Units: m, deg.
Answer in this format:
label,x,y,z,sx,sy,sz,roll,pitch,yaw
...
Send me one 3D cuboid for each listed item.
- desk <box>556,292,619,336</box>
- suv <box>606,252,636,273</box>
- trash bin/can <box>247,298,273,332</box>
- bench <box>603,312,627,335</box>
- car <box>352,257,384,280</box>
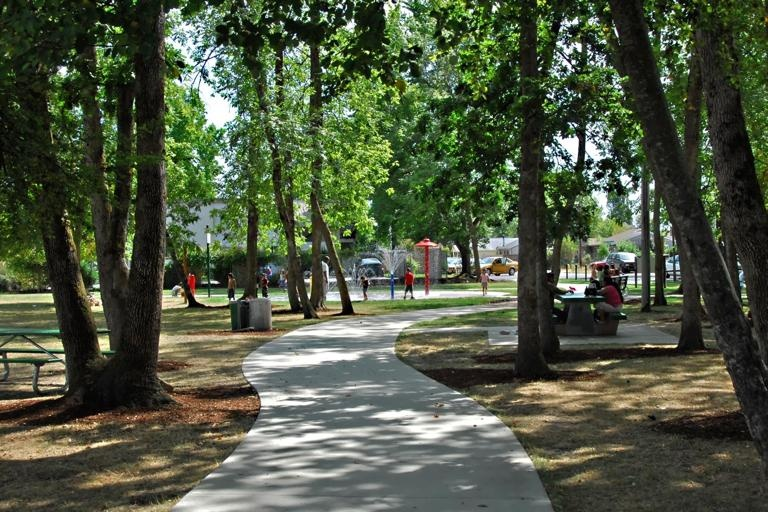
label,x,y,z,sx,sy,sz,roll,pitch,yaw
desk,5.494,1.586,19.966,1.238,0.598,1.250,0,-2,-3
suv,19.751,0.541,62.019,1.902,1.757,4.249,0,-4,-8
trash bin/can,-3.944,1.859,24.054,0.722,1.065,0.682,0,2,38
bench,6.166,1.808,20.130,0.942,0.642,0.511,0,-2,-4
car,-1.002,1.005,62.190,1.380,1.258,2.333,0,13,-3
